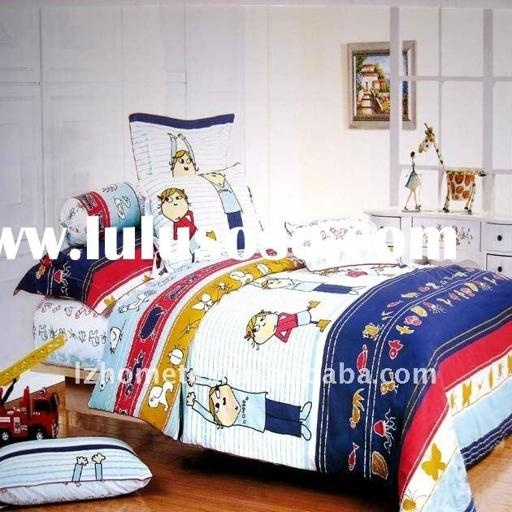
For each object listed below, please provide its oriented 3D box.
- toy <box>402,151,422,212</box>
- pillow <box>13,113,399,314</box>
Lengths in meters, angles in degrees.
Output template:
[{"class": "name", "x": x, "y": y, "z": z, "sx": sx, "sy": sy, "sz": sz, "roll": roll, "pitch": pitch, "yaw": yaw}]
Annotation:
[{"class": "toy", "x": 1.020, "y": -0.484, "z": 3.578, "sx": 0.146, "sy": 0.394, "sz": 0.118, "roll": 4, "pitch": 10, "yaw": 39}, {"class": "pillow", "x": -0.265, "y": -0.227, "z": 2.645, "sx": 0.776, "sy": 0.567, "sz": 0.959, "roll": 11, "pitch": 18, "yaw": 41}]
